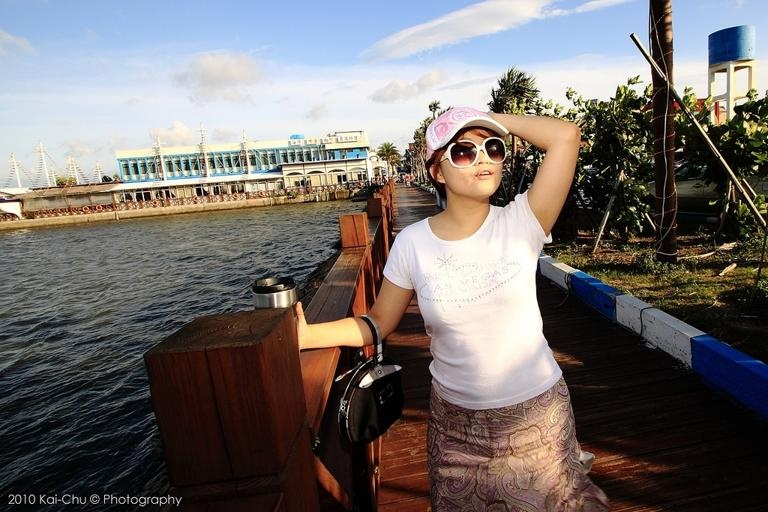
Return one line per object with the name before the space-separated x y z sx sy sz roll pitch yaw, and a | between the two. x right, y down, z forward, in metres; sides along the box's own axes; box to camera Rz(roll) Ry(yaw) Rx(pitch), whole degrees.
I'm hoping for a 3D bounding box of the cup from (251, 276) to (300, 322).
cup | -0.638 0.215 2.211 0.257 0.167 0.261 -2 3 0
